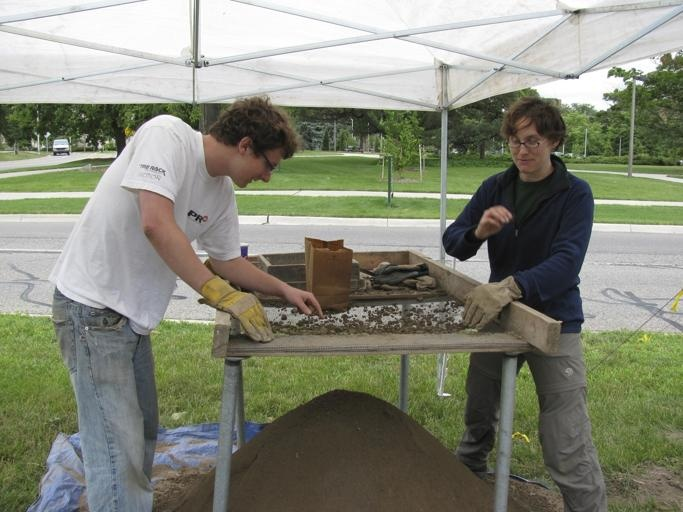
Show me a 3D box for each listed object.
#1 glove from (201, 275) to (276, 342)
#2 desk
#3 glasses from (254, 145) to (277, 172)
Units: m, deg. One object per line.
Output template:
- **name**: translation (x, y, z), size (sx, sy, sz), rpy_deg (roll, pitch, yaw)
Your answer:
- **glove**: translation (-0.593, 0.304, 3.875), size (0.141, 0.458, 0.282), rpy_deg (-41, 8, 38)
- **desk**: translation (0.212, 0.029, 4.507), size (1.431, 1.803, 2.719), rpy_deg (-1, 9, -8)
- **glasses**: translation (-0.472, -0.593, 4.045), size (0.036, 0.130, 0.118), rpy_deg (-22, -15, 17)
